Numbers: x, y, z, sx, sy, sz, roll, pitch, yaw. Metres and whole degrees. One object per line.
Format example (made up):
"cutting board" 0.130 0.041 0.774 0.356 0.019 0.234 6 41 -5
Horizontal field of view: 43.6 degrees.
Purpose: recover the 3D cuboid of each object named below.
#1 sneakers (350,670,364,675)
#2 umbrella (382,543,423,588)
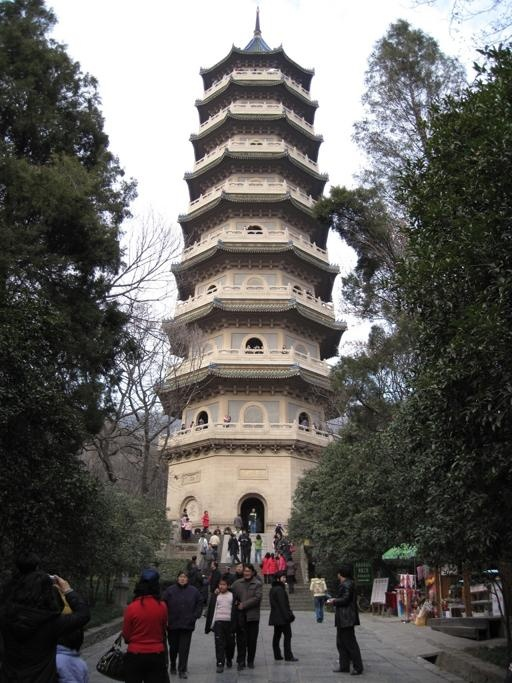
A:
"sneakers" 1.096 3.590 6.942 0.048 0.057 0.137 -22 -50 37
"umbrella" 4.357 6.374 18.534 1.192 1.262 1.068 -8 -8 42
